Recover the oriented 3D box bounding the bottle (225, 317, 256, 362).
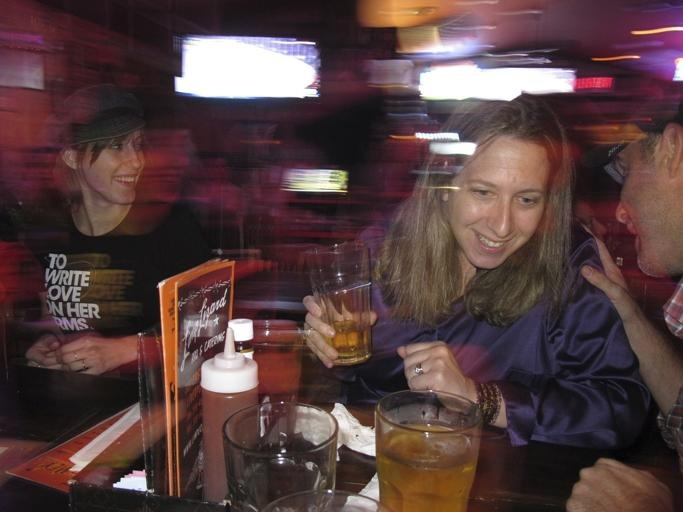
[{"bbox_3d":[-0.253,0.214,1.563,0.104,0.132,0.093,0,5,-9],"label":"bottle"}]

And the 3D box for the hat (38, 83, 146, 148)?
[{"bbox_3d":[-1.135,-0.566,2.687,0.414,0.152,0.315,-7,6,36],"label":"hat"}]

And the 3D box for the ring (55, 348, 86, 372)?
[{"bbox_3d":[-0.984,0.386,2.214,0.102,0.072,0.017,-1,8,3],"label":"ring"}]

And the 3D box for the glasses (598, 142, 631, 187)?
[{"bbox_3d":[1.206,-0.402,2.671,0.156,0.165,0.186,3,20,7],"label":"glasses"}]
